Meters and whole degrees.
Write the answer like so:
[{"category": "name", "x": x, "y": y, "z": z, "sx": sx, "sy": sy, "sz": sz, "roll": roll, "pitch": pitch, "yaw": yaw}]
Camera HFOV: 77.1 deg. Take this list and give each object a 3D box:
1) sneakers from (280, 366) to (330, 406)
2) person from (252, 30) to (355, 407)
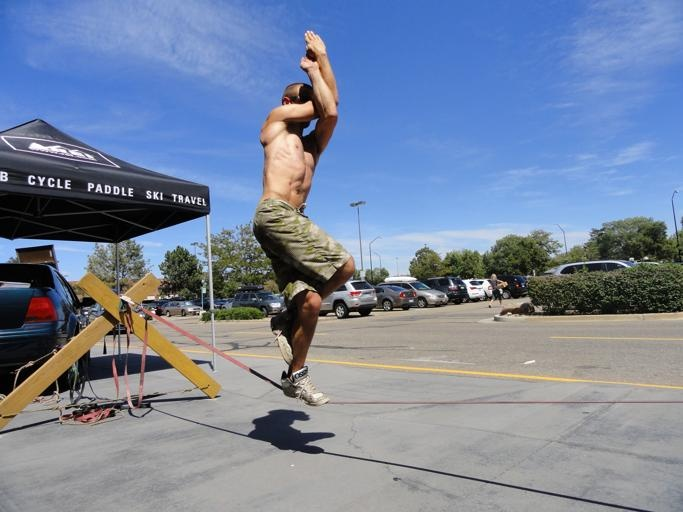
[{"category": "sneakers", "x": -0.285, "y": 0.949, "z": 3.191, "sx": 0.472, "sy": 0.244, "sz": 0.193, "roll": 3, "pitch": 3, "yaw": 30}, {"category": "person", "x": -0.298, "y": -0.315, "z": 3.247, "sx": 0.724, "sy": 2.892, "sz": 0.590, "roll": -4, "pitch": -4, "yaw": -10}]
